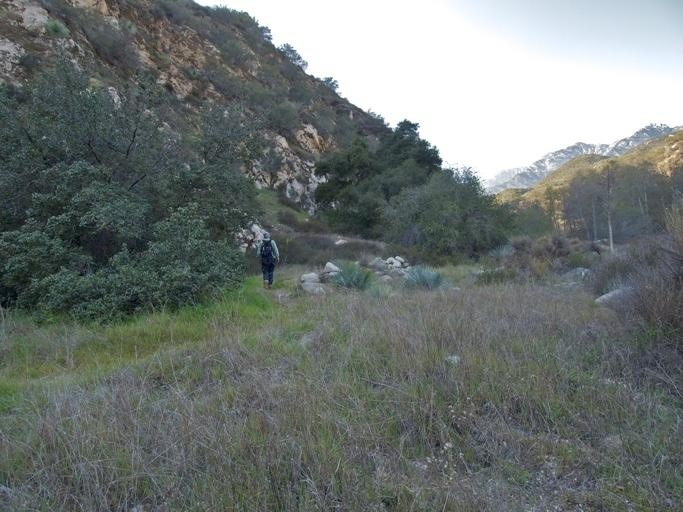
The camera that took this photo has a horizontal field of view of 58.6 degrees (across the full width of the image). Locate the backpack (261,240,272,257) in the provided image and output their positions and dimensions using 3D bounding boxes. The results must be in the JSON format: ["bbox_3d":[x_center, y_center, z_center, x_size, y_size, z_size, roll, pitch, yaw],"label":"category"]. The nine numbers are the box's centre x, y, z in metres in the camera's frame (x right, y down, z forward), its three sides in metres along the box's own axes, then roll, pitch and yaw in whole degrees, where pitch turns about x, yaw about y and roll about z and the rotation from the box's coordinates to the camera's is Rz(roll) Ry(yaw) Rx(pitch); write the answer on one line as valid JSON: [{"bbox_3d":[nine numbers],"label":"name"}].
[{"bbox_3d":[-2.735,-0.273,22.175,0.363,0.677,0.317,2,-24,-6],"label":"backpack"}]
